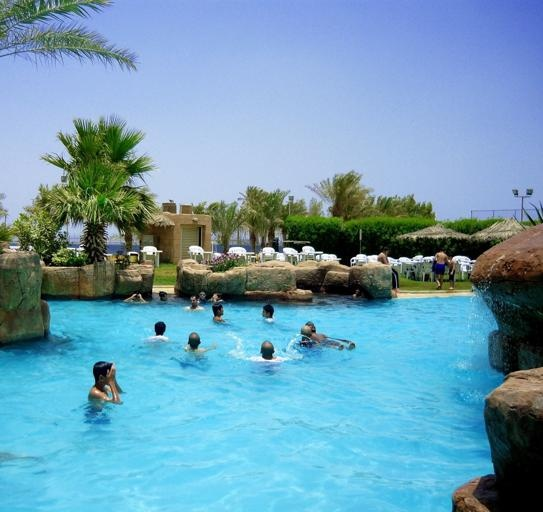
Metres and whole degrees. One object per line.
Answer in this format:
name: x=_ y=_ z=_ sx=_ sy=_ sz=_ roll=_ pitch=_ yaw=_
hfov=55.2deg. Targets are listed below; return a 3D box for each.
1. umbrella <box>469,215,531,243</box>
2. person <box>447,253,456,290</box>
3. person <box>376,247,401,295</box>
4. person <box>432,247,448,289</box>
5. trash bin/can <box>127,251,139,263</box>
umbrella: x=9.574 y=-1.191 z=22.124 sx=1.693 sy=1.038 sz=2.910 roll=0 pitch=-1 yaw=11
person: x=6.389 y=0.594 z=18.472 sx=0.233 sy=1.039 sz=2.092 roll=0 pitch=-1 yaw=19
person: x=3.977 y=0.469 z=17.701 sx=0.693 sy=1.567 sz=4.039 roll=0 pitch=-1 yaw=13
person: x=5.872 y=0.472 z=18.055 sx=0.437 sy=1.258 sz=1.283 roll=0 pitch=-1 yaw=19
trash bin/can: x=-5.103 y=0.034 z=19.069 sx=0.383 sy=0.568 sz=0.589 roll=0 pitch=12 yaw=-9
